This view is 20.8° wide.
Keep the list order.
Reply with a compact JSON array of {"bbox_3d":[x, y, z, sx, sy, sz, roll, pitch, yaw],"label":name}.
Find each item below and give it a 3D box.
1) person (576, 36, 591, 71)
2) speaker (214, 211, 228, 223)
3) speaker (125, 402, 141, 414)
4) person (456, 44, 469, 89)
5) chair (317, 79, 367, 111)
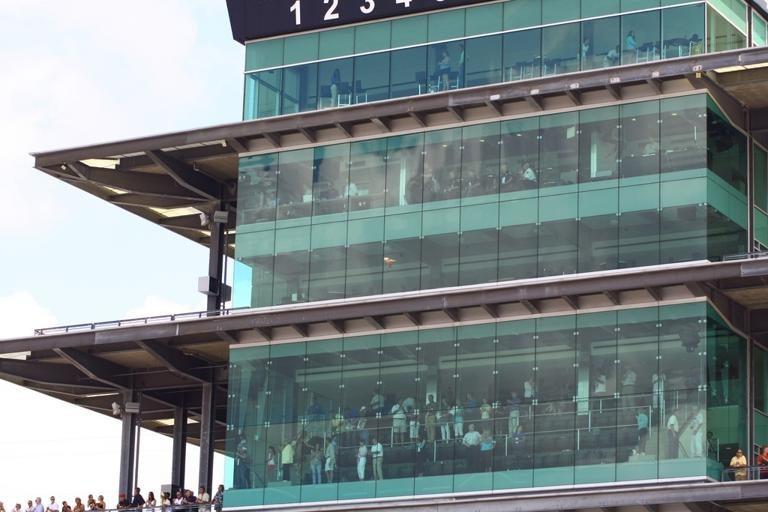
[{"bbox_3d":[7.344,-7.372,76.028,0.537,1.161,0.217,-9,-27,11],"label":"person"},{"bbox_3d":[-6.740,-1.545,84.048,0.557,0.353,0.253,4,23,8],"label":"speaker"},{"bbox_3d":[-10.440,6.297,85.206,0.954,0.379,0.557,4,-21,-8],"label":"speaker"},{"bbox_3d":[2.826,-7.011,77.479,0.218,1.703,0.502,16,-32,-35],"label":"person"},{"bbox_3d":[-1.622,-6.108,78.620,2.410,0.979,1.287,-5,-31,8],"label":"chair"}]
